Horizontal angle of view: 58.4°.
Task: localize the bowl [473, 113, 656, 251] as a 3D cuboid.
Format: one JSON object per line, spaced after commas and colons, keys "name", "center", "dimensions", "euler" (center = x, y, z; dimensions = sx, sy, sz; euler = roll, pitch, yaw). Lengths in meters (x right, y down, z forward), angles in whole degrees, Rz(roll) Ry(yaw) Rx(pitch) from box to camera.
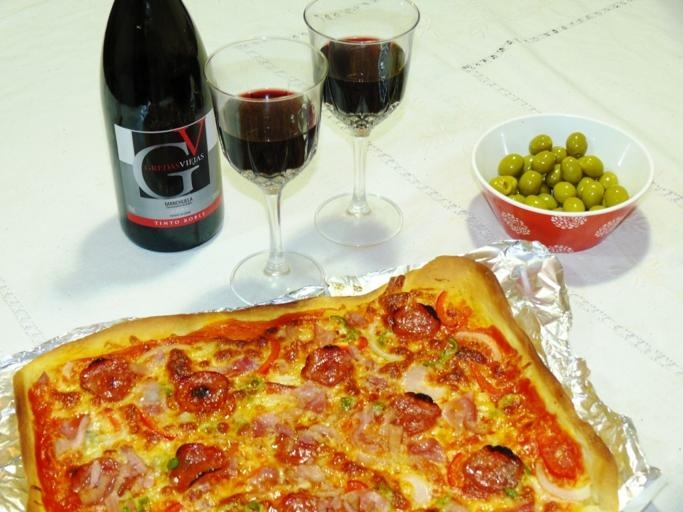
{"name": "bowl", "center": [0.709, -0.224, 2.122], "dimensions": [0.532, 0.225, 0.569], "euler": [0, 40, 0]}
